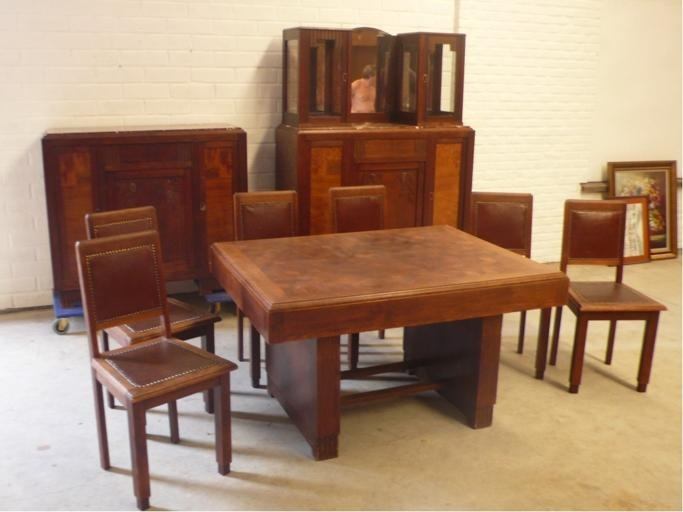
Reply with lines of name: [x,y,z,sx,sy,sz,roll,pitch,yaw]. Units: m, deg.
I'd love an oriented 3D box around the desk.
desk: [0.199,0.441,3.775,2.001,0.853,1.517,-7,17,-32]

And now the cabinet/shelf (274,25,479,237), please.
cabinet/shelf: [0.245,-1.041,5.047,1.942,2.008,0.753,-4,16,-17]

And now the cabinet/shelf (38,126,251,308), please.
cabinet/shelf: [-1.368,-0.330,4.240,1.501,1.157,0.536,-3,21,-11]
